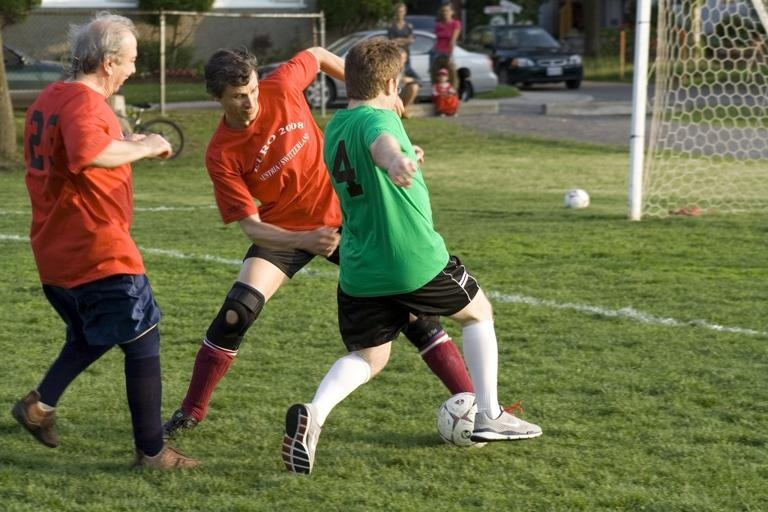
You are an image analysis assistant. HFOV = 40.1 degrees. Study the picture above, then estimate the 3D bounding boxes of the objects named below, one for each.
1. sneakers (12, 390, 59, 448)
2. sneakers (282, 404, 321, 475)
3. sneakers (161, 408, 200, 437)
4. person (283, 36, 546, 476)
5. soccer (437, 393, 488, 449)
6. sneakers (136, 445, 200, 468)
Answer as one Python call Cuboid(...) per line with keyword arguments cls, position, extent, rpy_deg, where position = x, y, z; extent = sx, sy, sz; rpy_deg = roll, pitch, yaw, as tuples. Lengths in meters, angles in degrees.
Cuboid(cls="sneakers", position=(-2.303, 1.086, 6.939), extent=(0.246, 0.360, 0.131), rpy_deg=(-36, 25, 13))
Cuboid(cls="sneakers", position=(-0.524, 1.135, 6.641), extent=(0.227, 0.427, 0.246), rpy_deg=(-1, -1, 27))
Cuboid(cls="sneakers", position=(-1.390, 1.117, 7.185), extent=(0.321, 0.124, 0.109), rpy_deg=(-27, 11, -23))
Cuboid(cls="person", position=(0.107, 0.017, 6.708), extent=(1.414, 2.758, 0.694), rpy_deg=(2, 11, -3))
Cuboid(cls="soccer", position=(0.490, 1.082, 6.902), extent=(0.288, 0.270, 0.365), rpy_deg=(-14, -8, -43))
Cuboid(cls="sneakers", position=(-1.410, 1.320, 6.902), extent=(0.467, 0.141, 0.139), rpy_deg=(1, 3, -11))
